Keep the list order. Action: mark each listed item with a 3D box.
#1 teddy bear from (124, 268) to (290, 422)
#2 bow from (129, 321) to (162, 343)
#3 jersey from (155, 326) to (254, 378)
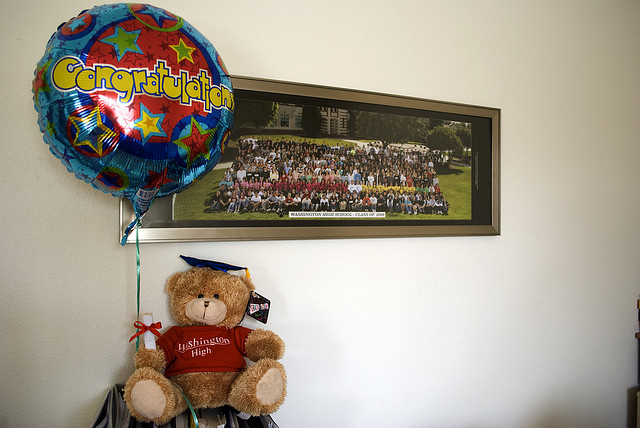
[{"bbox_3d":[-0.451,0.553,2.264,0.756,0.761,0.575,3,-11,-17],"label":"teddy bear"},{"bbox_3d":[-0.721,0.475,2.052,0.114,0.088,0.137,-1,7,-15],"label":"bow"},{"bbox_3d":[-0.482,0.563,2.045,0.351,0.197,0.105,1,-16,-9],"label":"jersey"}]
